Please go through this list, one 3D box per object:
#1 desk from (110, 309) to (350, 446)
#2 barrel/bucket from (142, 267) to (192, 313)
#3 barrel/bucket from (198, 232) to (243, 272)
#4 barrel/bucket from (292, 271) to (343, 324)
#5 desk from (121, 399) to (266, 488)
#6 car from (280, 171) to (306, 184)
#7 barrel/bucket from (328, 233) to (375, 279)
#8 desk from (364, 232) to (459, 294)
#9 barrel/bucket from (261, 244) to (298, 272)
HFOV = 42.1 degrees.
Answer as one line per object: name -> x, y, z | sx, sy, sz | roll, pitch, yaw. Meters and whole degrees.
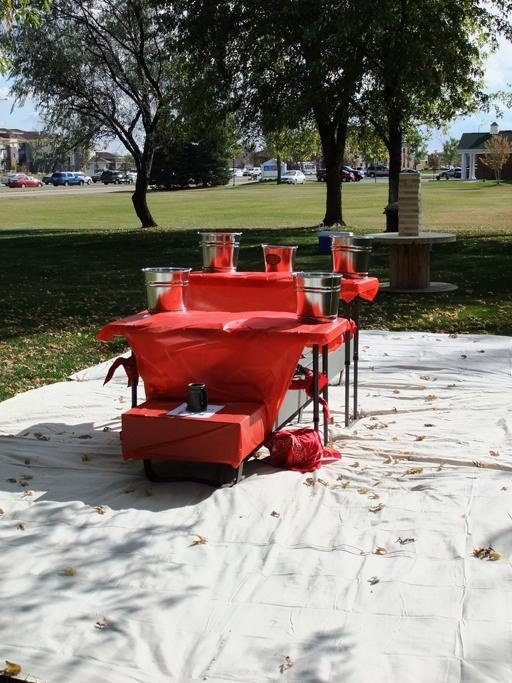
desk -> -0.206, 0.044, 4.979 | 1.920, 0.850, 1.202 | 4, 24, 16
barrel/bucket -> -0.664, -0.392, 4.986 | 0.372, 0.283, 0.352 | 0, 7, 0
barrel/bucket -> -0.363, -0.911, 6.792 | 0.364, 0.391, 0.371 | -1, 10, 0
barrel/bucket -> 0.416, -0.316, 4.617 | 0.361, 0.318, 0.361 | 0, 7, 0
desk -> -0.385, 0.634, 4.126 | 0.662, 0.306, 0.630 | 2, 12, 14
car -> 4.689, -19.566, 78.937 | 1.848, 1.270, 3.159 | 2, 10, 21
barrel/bucket -> 0.840, -0.780, 6.006 | 0.456, 0.359, 0.377 | -2, 8, -25
desk -> 2.956, -1.596, 13.032 | 1.702, 0.948, 1.624 | -11, 18, -40
barrel/bucket -> 0.243, -0.853, 6.869 | 0.309, 0.239, 0.307 | 1, 3, 0
